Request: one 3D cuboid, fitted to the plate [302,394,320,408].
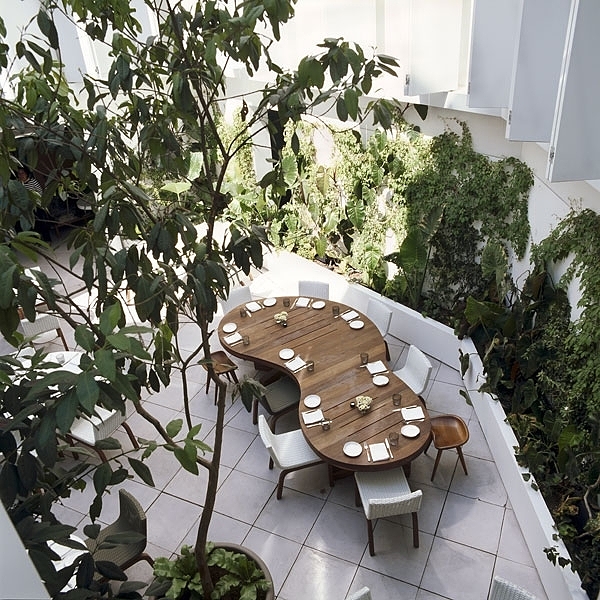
[{"bbox_3d":[0.129,1.100,4.880,0.190,0.053,0.188,-4,25,-5],"label":"plate"}]

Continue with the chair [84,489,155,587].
[{"bbox_3d":[-1.558,2.087,3.794,0.473,0.777,0.504,24,34,19],"label":"chair"}]

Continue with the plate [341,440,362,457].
[{"bbox_3d":[0.497,1.440,4.347,0.188,0.045,0.184,8,27,21],"label":"plate"}]
